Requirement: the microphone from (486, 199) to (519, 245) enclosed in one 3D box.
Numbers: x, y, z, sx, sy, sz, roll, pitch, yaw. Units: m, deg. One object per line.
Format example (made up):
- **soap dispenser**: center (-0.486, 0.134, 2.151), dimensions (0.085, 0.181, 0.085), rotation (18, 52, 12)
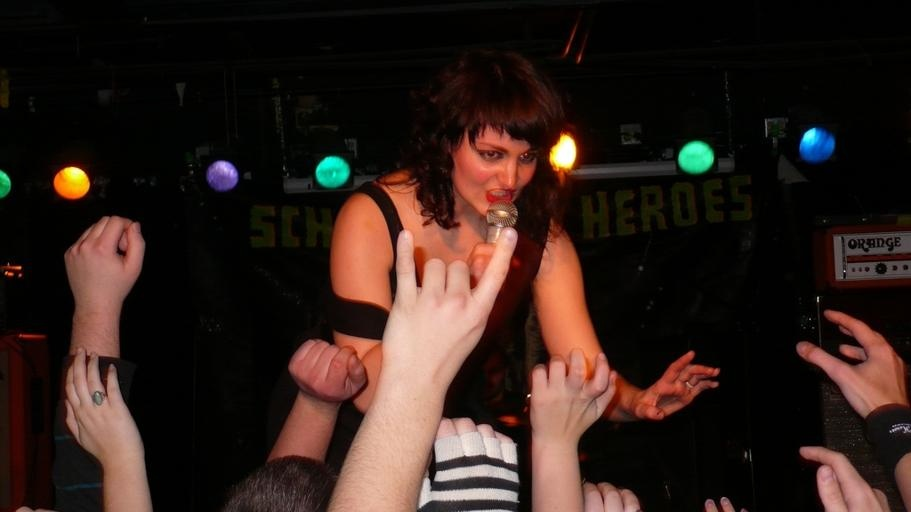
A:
- **microphone**: center (0.270, -0.198, 4.301), dimensions (0.168, 0.246, 0.324), rotation (1, 4, 2)
